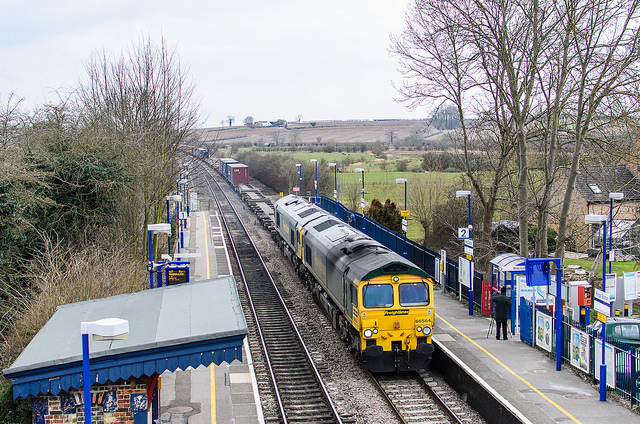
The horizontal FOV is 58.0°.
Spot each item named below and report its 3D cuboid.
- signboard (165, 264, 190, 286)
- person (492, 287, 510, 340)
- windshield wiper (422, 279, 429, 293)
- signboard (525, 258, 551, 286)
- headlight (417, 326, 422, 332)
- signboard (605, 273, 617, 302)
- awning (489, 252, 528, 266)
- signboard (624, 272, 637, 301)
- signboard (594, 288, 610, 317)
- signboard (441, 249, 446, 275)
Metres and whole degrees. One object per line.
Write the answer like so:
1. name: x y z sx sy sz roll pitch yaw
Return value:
1. signboard: -6.825 2.985 27.785 1.015 1.425 0.130 0 -2 -3
2. person: 8.030 4.483 25.460 0.705 2.405 0.855 -2 5 18
3. windshield wiper: 4.230 2.956 23.136 0.065 0.541 0.065 -22 10 -23
4. signboard: 8.997 2.483 24.151 0.875 1.254 0.985 0 -2 -3
5. headlight: 3.984 4.608 22.888 0.186 0.203 0.042 -4 5 -2
6. signboard: 13.003 3.330 25.781 1.154 1.795 0.115 -6 7 -44
7. awning: 9.000 2.225 27.386 1.131 0.438 2.314 -1 0 -4
8. signboard: 14.839 3.506 27.546 1.080 1.465 0.103 -1 3 -31
9. signboard: 11.732 3.611 23.978 0.686 0.943 0.094 11 30 21
10. signboard: 7.171 2.818 33.293 0.257 1.358 0.883 -2 5 14
